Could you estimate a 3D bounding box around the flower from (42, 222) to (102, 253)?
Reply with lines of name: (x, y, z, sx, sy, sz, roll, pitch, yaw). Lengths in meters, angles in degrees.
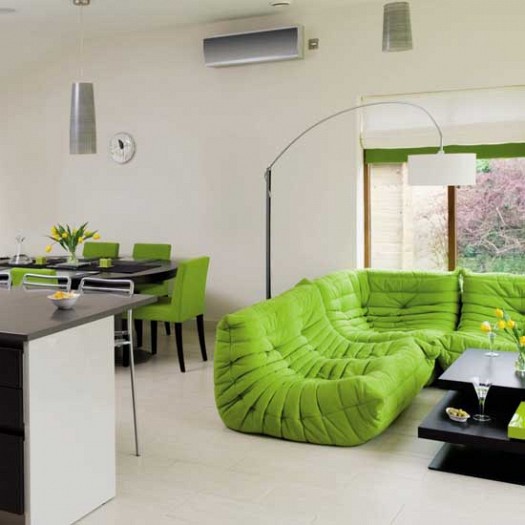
flower: (-2.054, -0.273, 5.638, 0.446, 0.287, 0.450, -1, 1, 19)

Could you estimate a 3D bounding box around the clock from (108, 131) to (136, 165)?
clock: (-1.642, -1.330, 6.007, 0.355, 0.353, 0.083, 17, 16, 22)

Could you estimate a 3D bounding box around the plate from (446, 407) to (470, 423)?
plate: (1.022, 0.800, 2.702, 0.116, 0.058, 0.151, 1, 4, 21)

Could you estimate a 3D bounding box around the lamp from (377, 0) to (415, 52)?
lamp: (0.865, -1.521, 3.307, 0.174, 0.348, 0.167, 1, 5, 14)

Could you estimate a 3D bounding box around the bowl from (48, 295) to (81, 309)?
bowl: (-0.833, 0.158, 2.176, 0.078, 0.030, 0.079, -1, 2, 0)
